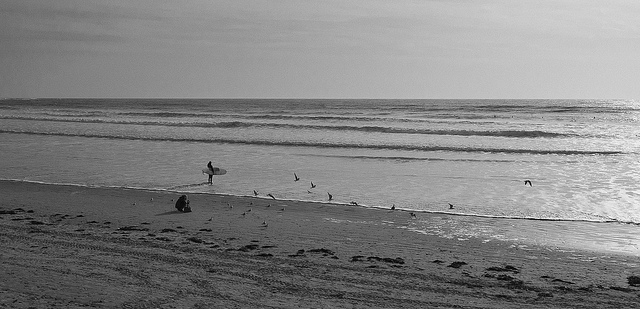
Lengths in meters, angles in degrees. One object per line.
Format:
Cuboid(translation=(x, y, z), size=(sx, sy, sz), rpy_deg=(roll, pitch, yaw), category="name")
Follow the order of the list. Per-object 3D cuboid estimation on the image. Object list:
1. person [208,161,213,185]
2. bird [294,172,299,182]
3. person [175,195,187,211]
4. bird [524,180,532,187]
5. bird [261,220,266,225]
Cuboid(translation=(-6.285, 1.042, 34.264), size=(0.327, 1.171, 0.919), rpy_deg=(5, 9, -10), category="person")
Cuboid(translation=(-1.367, 1.356, 35.162), size=(0.260, 0.345, 0.567), rpy_deg=(6, 8, -2), category="bird")
Cuboid(translation=(-6.942, 2.436, 29.885), size=(0.636, 0.649, 0.294), rpy_deg=(10, -7, 27), category="person")
Cuboid(translation=(11.908, 1.629, 34.254), size=(0.334, 0.338, 0.929), rpy_deg=(9, 9, 22), category="bird")
Cuboid(translation=(-2.740, 3.293, 28.881), size=(0.142, 0.191, 0.398), rpy_deg=(-2, 9, 11), category="bird")
